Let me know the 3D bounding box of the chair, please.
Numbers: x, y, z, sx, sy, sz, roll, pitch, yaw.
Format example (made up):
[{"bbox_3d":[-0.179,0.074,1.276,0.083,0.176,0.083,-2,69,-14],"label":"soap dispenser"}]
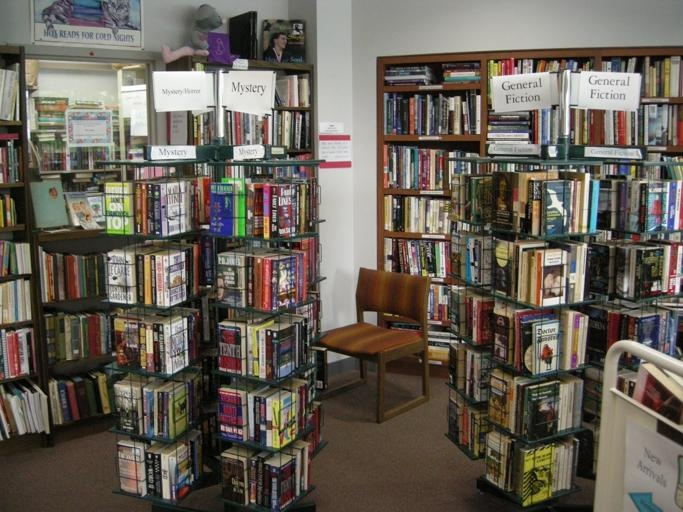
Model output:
[{"bbox_3d":[0.259,0.707,5.419,0.758,1.045,0.758,5,9,43],"label":"chair"}]
